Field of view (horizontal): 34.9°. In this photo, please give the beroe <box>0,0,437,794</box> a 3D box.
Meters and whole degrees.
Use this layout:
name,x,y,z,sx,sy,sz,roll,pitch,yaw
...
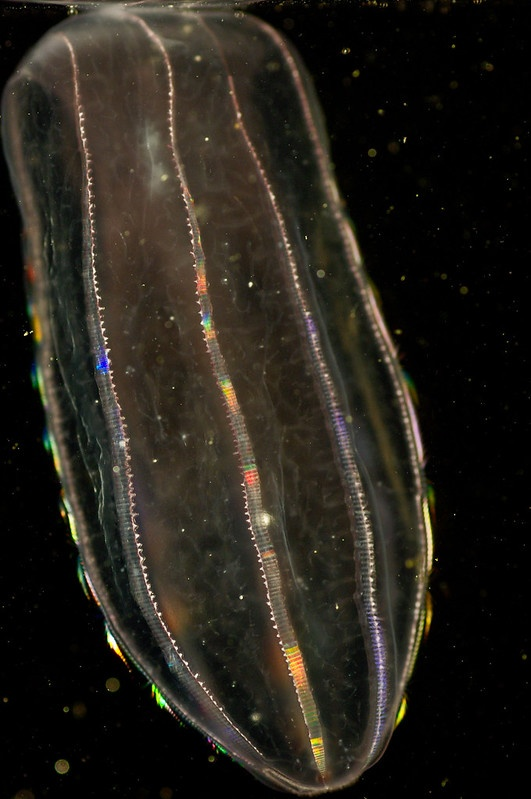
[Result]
name,x,y,z,sx,sy,sz,roll,pitch,yaw
beroe,-0.082,0.076,1.521,0.583,0.293,1.258,-13,89,-7
